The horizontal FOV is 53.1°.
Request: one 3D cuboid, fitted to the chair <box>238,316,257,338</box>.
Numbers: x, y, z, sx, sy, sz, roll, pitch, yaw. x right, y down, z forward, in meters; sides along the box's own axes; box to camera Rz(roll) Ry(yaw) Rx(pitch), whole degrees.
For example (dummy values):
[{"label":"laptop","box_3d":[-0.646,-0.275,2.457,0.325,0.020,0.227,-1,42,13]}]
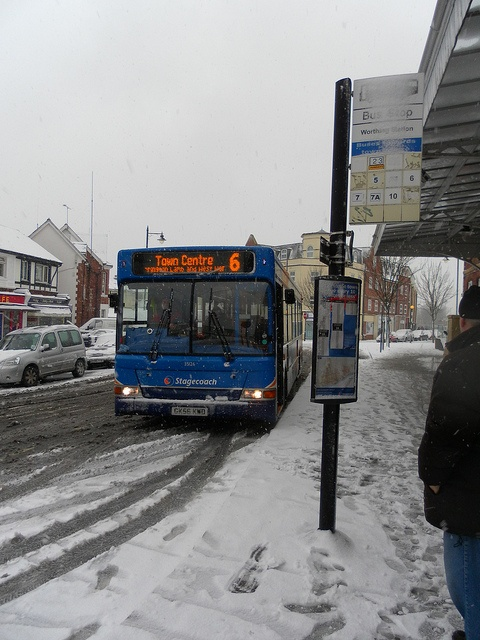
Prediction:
[{"label":"chair","box_3d":[0.076,0.146,7.186,0.260,0.485,0.222,0,-5,-3]}]
